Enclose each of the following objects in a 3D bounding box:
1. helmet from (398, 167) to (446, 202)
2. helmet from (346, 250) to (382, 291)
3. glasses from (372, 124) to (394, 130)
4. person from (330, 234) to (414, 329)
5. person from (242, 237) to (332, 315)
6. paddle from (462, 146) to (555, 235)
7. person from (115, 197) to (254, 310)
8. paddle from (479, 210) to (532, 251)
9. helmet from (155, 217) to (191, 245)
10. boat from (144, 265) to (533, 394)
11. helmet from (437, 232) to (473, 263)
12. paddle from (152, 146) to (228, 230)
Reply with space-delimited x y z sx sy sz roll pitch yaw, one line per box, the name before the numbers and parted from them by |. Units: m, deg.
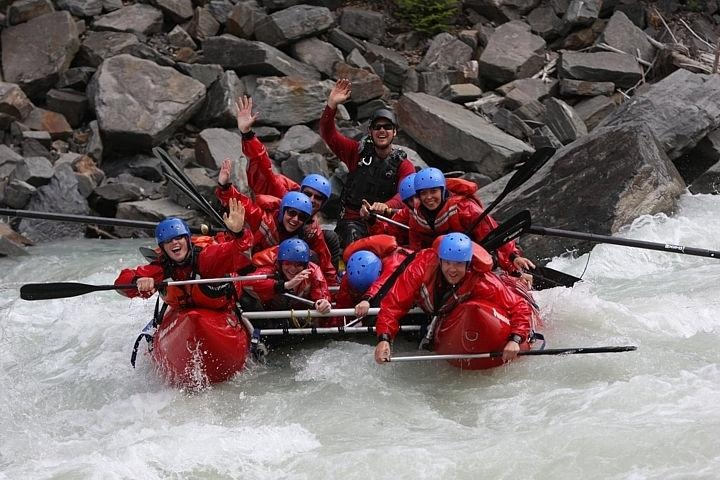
helmet | 0.819 -0.805 11.295 0.421 0.547 0.397 61 22 13
helmet | 0.100 0.442 11.198 0.430 0.468 0.516 8 71 3
glasses | 0.372 -1.720 12.527 0.338 0.113 0.080 -6 31 -5
person | 0.200 0.499 11.181 0.944 0.602 1.297 6 79 35
person | -0.988 0.541 10.927 0.905 0.923 1.101 0 40 -27
paddle | 2.346 -0.741 12.709 2.371 0.268 0.184 -43 17 -7
person | -2.362 0.219 11.187 1.196 1.623 0.889 14 43 -11
paddle | 1.971 -0.117 10.723 0.115 1.012 0.282 -18 76 -41
helmet | -2.369 -0.124 10.365 0.298 0.392 0.358 -16 58 0
boat | -0.812 1.518 11.278 3.967 1.301 1.780 -3 35 -13
helmet | 1.217 0.110 10.348 0.435 0.318 0.310 0 31 6
paddle | -2.736 -0.814 13.382 0.248 0.258 2.156 -44 63 11
